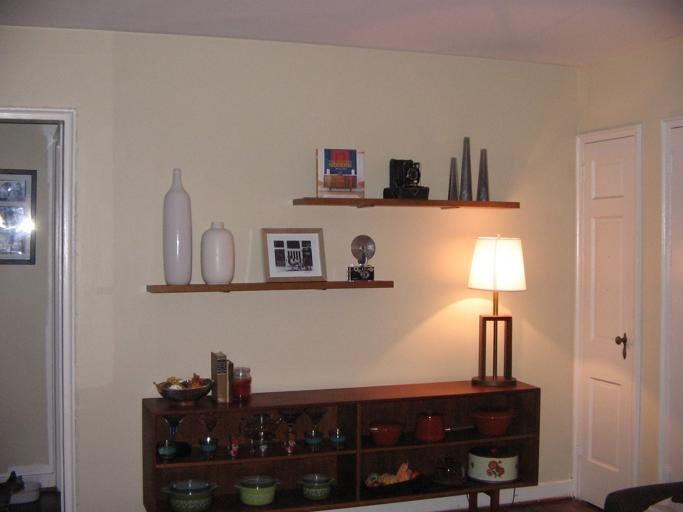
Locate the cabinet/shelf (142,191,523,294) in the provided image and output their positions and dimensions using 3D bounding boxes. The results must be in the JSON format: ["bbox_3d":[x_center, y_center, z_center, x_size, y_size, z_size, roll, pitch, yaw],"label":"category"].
[{"bbox_3d":[-0.054,-0.085,4.308,2.476,0.636,0.473,3,4,-25],"label":"cabinet/shelf"}]

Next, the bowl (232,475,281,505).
[{"bbox_3d":[-0.543,1.525,4.183,0.272,0.145,0.231,0,1,-9],"label":"bowl"}]

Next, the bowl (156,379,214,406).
[{"bbox_3d":[-0.987,0.866,4.066,0.346,0.136,0.211,0,1,-11],"label":"bowl"}]

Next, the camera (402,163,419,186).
[{"bbox_3d":[0.500,-0.568,4.497,0.137,0.144,0.053,-14,9,-38],"label":"camera"}]

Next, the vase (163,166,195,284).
[{"bbox_3d":[-1.028,-0.182,4.059,0.248,0.711,0.183,-2,-5,32],"label":"vase"}]

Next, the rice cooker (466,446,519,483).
[{"bbox_3d":[1.076,1.492,4.581,0.322,0.186,0.331,5,-11,-14],"label":"rice cooker"}]

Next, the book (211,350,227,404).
[{"bbox_3d":[-0.778,0.785,4.089,0.090,0.280,0.278,-1,3,-17],"label":"book"}]

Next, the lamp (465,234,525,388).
[{"bbox_3d":[1.081,0.388,4.650,0.409,1.091,0.394,1,-2,-11],"label":"lamp"}]

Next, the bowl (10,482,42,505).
[{"bbox_3d":[-2.373,1.805,4.917,0.149,0.127,0.282,0,1,14],"label":"bowl"}]

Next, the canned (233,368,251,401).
[{"bbox_3d":[-0.649,0.841,4.195,0.133,0.173,0.175,1,3,7],"label":"canned"}]

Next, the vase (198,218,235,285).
[{"bbox_3d":[-0.806,-0.018,4.182,0.175,0.420,0.180,2,8,-34],"label":"vase"}]

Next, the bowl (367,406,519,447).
[{"bbox_3d":[0.705,1.166,4.476,1.047,0.263,0.362,-3,-1,-7],"label":"bowl"}]

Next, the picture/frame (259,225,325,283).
[{"bbox_3d":[-0.320,-0.008,4.349,0.425,0.351,0.145,0,1,-7],"label":"picture/frame"}]

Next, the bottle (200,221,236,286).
[{"bbox_3d":[-0.802,0.003,4.191,0.175,0.420,0.180,6,6,-1],"label":"bottle"}]
